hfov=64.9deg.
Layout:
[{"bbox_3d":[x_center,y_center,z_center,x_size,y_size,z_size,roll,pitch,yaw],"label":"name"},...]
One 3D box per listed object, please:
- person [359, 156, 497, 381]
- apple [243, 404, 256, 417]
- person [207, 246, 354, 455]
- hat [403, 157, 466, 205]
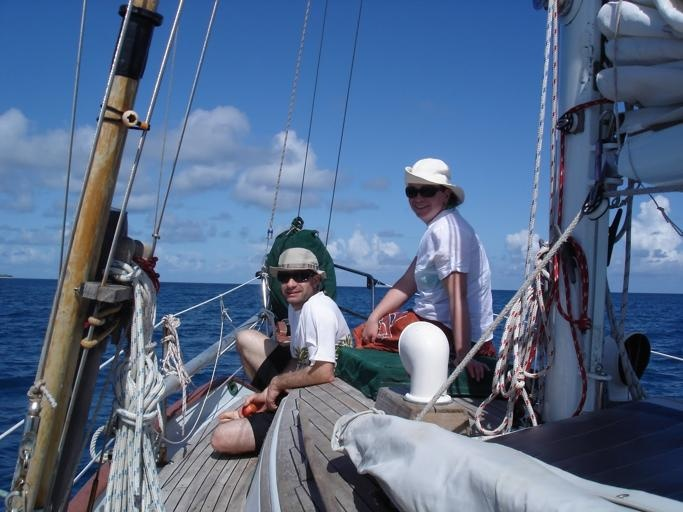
[{"bbox_3d":[0.557,0.027,3.383,0.869,1.349,1.532,0,-5,1],"label":"person"},{"bbox_3d":[-0.636,1.050,3.666,0.133,0.089,0.034,-3,-5,29],"label":"apple"},{"bbox_3d":[-0.413,0.613,3.870,0.933,1.372,1.148,1,-5,-11],"label":"person"},{"bbox_3d":[0.543,-0.448,3.306,0.346,0.201,0.441,11,-27,31],"label":"hat"}]
